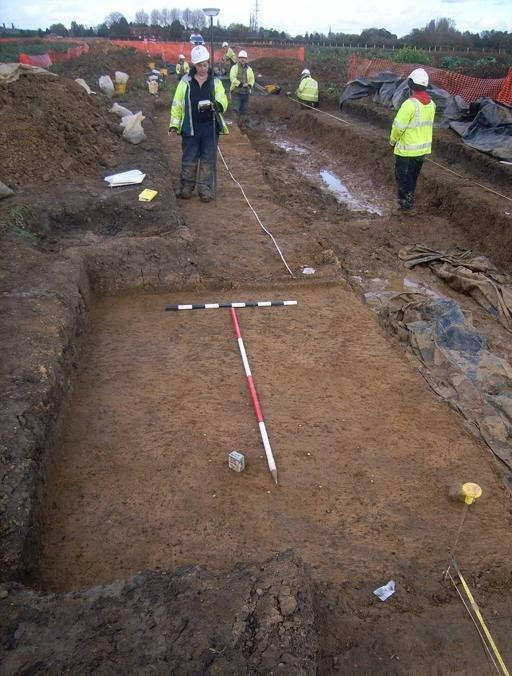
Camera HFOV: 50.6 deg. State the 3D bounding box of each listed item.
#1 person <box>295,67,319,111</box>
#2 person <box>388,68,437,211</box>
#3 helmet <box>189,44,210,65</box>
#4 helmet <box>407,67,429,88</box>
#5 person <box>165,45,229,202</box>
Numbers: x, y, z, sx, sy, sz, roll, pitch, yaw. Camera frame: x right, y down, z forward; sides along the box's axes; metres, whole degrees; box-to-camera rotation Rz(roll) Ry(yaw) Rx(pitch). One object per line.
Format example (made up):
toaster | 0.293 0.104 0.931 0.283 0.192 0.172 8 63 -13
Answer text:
person | 1.330 -6.338 13.754 0.563 0.847 0.694 5 28 2
person | 2.079 -2.631 7.369 0.584 1.850 0.467 -6 30 -18
helmet | -0.645 -3.302 6.334 0.202 0.140 0.266 -6 49 -2
helmet | 2.073 -3.282 6.883 0.235 0.297 0.161 4 -11 -5
person | -0.742 -2.673 6.971 0.702 1.918 0.843 2 29 -3
